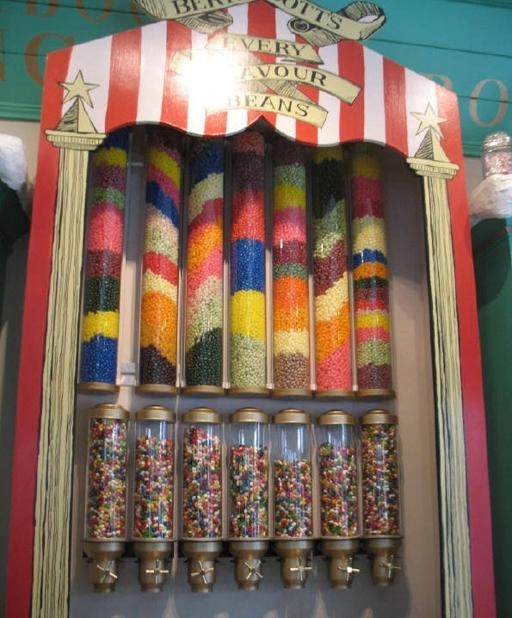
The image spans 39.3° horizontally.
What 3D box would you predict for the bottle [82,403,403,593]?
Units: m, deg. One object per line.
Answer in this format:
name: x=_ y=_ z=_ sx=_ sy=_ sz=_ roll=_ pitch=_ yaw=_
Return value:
bottle: x=-0.070 y=0.654 z=2.426 sx=0.730 sy=0.419 sz=0.146 roll=1 pitch=-22 yaw=-6
